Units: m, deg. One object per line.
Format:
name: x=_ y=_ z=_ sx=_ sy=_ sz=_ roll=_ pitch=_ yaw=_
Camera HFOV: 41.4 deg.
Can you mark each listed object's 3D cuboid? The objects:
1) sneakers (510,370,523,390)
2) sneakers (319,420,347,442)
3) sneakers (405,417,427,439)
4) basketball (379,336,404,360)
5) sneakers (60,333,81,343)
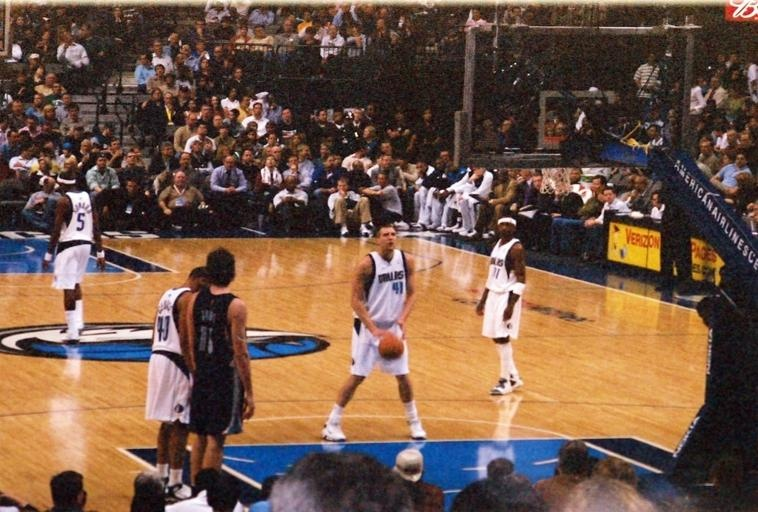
sneakers: x=1.809 y=1.612 z=13.143 sx=0.112 sy=0.246 sz=0.311 roll=9 pitch=15 yaw=30
sneakers: x=-0.531 y=2.021 z=11.472 sx=0.159 sy=0.193 sz=0.305 roll=1 pitch=0 yaw=-44
sneakers: x=0.479 y=1.977 z=11.516 sx=0.256 sy=0.226 sz=0.202 roll=-8 pitch=16 yaw=-35
basketball: x=0.131 y=1.015 z=11.086 sx=0.232 sy=0.235 sz=0.274 roll=0 pitch=7 yaw=-1
sneakers: x=-4.470 y=1.172 z=14.514 sx=0.256 sy=0.149 sz=0.236 roll=0 pitch=13 yaw=-4
